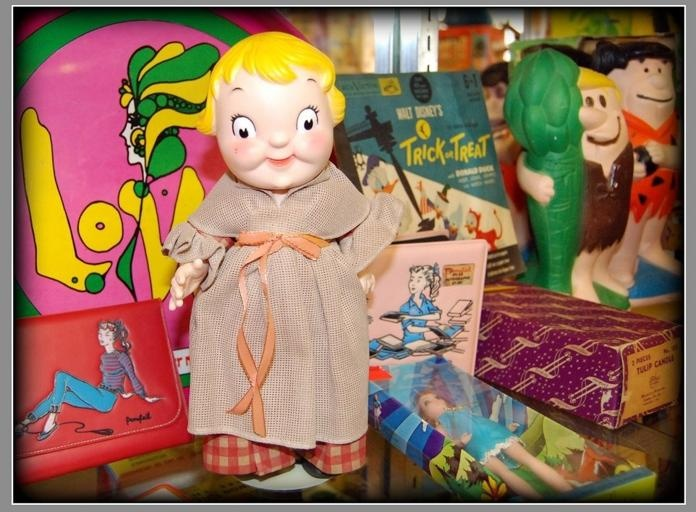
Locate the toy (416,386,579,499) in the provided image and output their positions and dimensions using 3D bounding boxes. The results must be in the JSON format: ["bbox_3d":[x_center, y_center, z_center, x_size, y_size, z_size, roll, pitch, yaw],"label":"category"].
[{"bbox_3d":[0.399,0.486,1.603,0.152,0.133,0.461,-15,36,-30],"label":"toy"}]

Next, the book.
[{"bbox_3d":[0.244,-0.354,2.000,0.651,0.763,0.075,-13,-1,-21],"label":"book"}]

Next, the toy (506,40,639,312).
[{"bbox_3d":[0.947,-0.261,2.282,0.557,1.135,0.229,-10,12,-19],"label":"toy"}]
